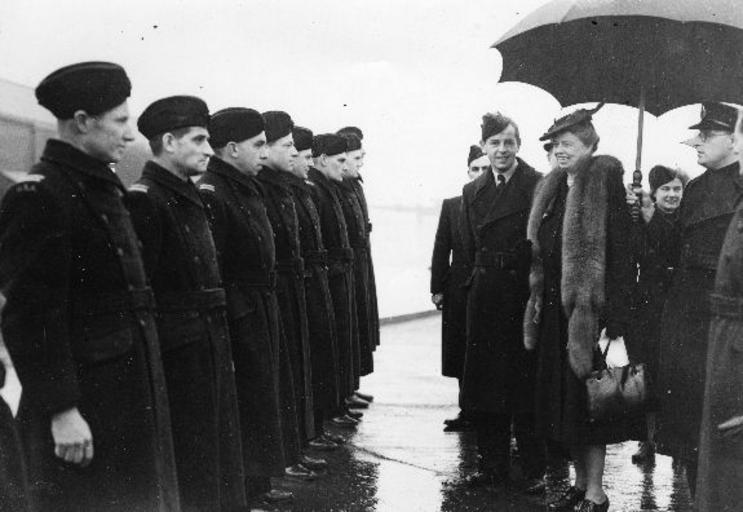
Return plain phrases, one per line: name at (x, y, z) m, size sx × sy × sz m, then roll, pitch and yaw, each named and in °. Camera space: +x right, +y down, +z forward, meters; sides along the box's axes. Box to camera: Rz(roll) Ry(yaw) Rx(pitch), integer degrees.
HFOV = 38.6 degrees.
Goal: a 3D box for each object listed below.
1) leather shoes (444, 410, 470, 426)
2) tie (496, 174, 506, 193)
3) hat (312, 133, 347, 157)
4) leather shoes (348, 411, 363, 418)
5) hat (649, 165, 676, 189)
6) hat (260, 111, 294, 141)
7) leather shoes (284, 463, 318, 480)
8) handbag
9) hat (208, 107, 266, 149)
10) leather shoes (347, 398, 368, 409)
leather shoes at (0.726, 1.353, 8.772) m, size 0.277 × 0.127 × 0.079 m, roll -5°, pitch -21°, yaw -37°
tie at (0.892, -0.517, 7.431) m, size 0.061 × 0.105 × 0.027 m, roll 0°, pitch -2°, yaw 30°
hat at (-0.322, -0.937, 8.877) m, size 0.245 × 0.133 × 0.184 m, roll -5°, pitch 7°, yaw -44°
leather shoes at (-0.113, 1.345, 8.941) m, size 0.118 × 0.048 × 0.041 m, roll -5°, pitch -4°, yaw 32°
hat at (2.261, -0.618, 8.393) m, size 0.147 × 0.171 × 0.189 m, roll 1°, pitch 11°, yaw 5°
hat at (-0.625, -0.901, 7.330) m, size 0.207 × 0.180 × 0.200 m, roll 2°, pitch -3°, yaw -2°
leather shoes at (-0.448, 1.471, 7.219) m, size 0.213 × 0.082 × 0.104 m, roll 1°, pitch -1°, yaw 11°
handbag at (1.458, 0.832, 6.421) m, size 0.358 × 0.599 × 0.204 m, roll 0°, pitch 0°, yaw 7°
hat at (-0.819, -0.813, 6.653) m, size 0.296 × 0.174 × 0.227 m, roll 0°, pitch 3°, yaw 1°
leather shoes at (-0.102, 1.319, 9.403) m, size 0.170 × 0.064 × 0.061 m, roll -2°, pitch -4°, yaw 7°
